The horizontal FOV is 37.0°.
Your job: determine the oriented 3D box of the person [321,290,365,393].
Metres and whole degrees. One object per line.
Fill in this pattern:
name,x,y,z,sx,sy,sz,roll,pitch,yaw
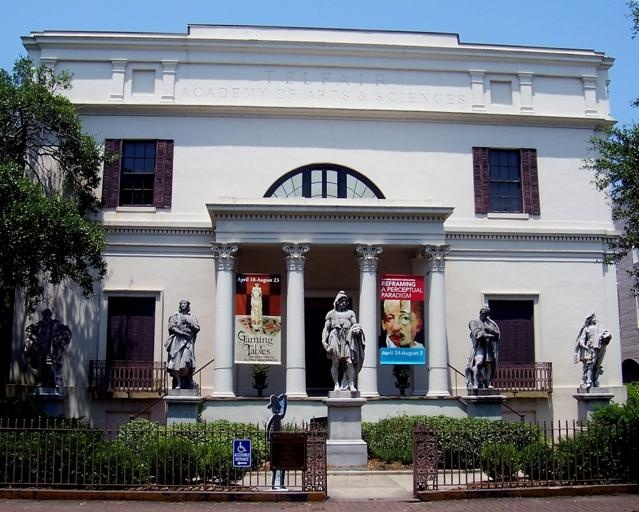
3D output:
person,0.673,2.469,27.618,1.138,2.797,1.246,-1,-9,13

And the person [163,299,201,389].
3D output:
person,-4.256,2.710,29.417,0.937,2.688,1.159,2,-9,-9

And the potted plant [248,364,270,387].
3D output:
potted plant,-2.142,4.158,33.519,0.683,0.726,0.690,-2,-8,5

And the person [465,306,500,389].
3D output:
person,5.335,3.025,31.194,0.934,2.718,1.195,1,-9,0

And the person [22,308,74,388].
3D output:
person,-8.941,3.084,31.354,1.008,2.583,1.142,-6,-11,39

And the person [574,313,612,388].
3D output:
person,9.141,3.223,32.223,0.977,2.562,1.460,0,-9,7
